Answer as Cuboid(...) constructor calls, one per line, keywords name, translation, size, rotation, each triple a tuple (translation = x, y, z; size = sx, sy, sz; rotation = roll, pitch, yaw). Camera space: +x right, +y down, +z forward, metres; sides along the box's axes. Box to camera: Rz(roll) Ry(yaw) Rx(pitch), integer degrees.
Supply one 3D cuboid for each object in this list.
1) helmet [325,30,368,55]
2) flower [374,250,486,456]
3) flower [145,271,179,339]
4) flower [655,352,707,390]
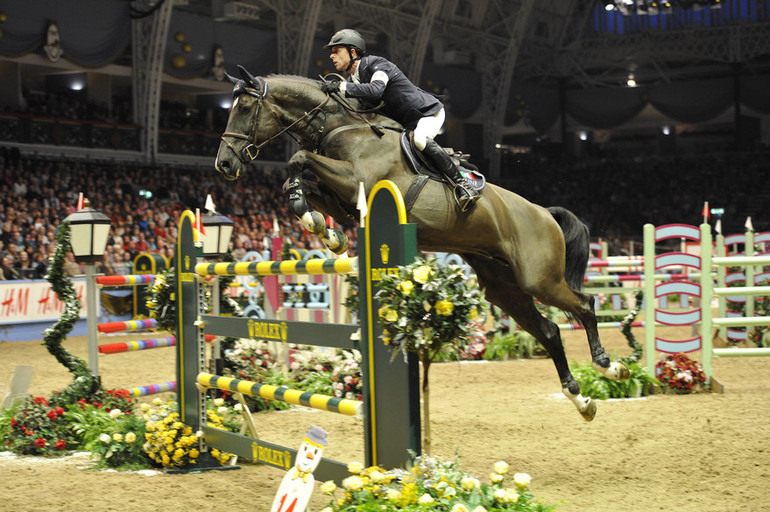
Cuboid(name="helmet", translation=(-0.463, -2.554, 9.712), size=(0.443, 0.203, 0.288), rotation=(6, -3, -10))
Cuboid(name="flower", translation=(0.474, 1.040, 8.655), size=(1.091, 2.084, 0.377), rotation=(-3, 9, -9))
Cuboid(name="flower", translation=(-2.844, 0.594, 10.653), size=(0.650, 0.889, 0.310), rotation=(6, 12, 39))
Cuboid(name="flower", translation=(4.339, 1.689, 12.115), size=(0.688, 0.525, 0.355), rotation=(1, 9, 16))
